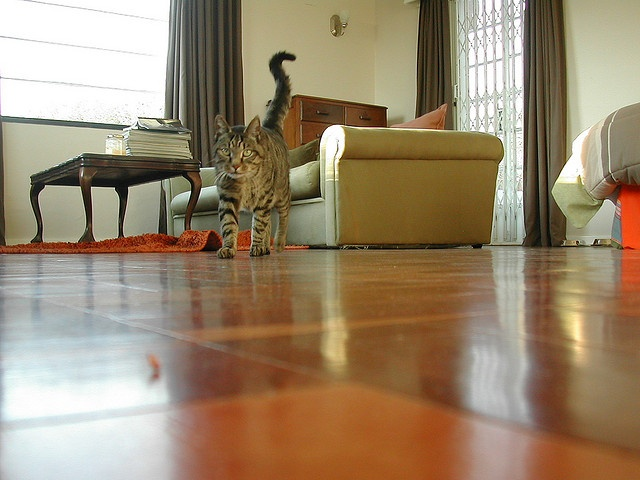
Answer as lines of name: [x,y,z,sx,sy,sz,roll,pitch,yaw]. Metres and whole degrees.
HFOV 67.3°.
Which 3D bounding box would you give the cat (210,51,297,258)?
cat: [-0.293,-0.448,2.113,0.331,1.023,0.855,0,0,-1]
